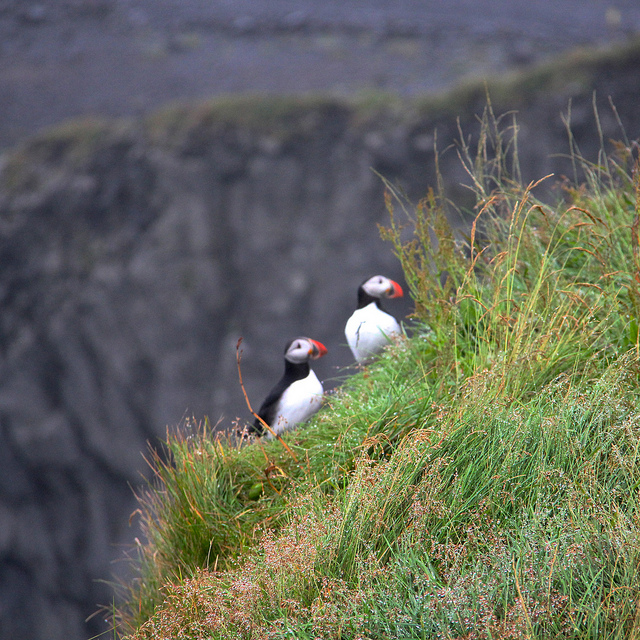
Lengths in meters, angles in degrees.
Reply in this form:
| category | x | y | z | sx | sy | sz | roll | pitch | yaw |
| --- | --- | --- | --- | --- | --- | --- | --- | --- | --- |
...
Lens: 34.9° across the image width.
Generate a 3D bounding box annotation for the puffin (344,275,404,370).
| category | x | y | z | sx | sy | sz | roll | pitch | yaw |
| --- | --- | --- | --- | --- | --- | --- | --- | --- | --- |
| puffin | 0.260 | 0.025 | 4.911 | 0.288 | 0.561 | 0.269 | -1 | 23 | 2 |
